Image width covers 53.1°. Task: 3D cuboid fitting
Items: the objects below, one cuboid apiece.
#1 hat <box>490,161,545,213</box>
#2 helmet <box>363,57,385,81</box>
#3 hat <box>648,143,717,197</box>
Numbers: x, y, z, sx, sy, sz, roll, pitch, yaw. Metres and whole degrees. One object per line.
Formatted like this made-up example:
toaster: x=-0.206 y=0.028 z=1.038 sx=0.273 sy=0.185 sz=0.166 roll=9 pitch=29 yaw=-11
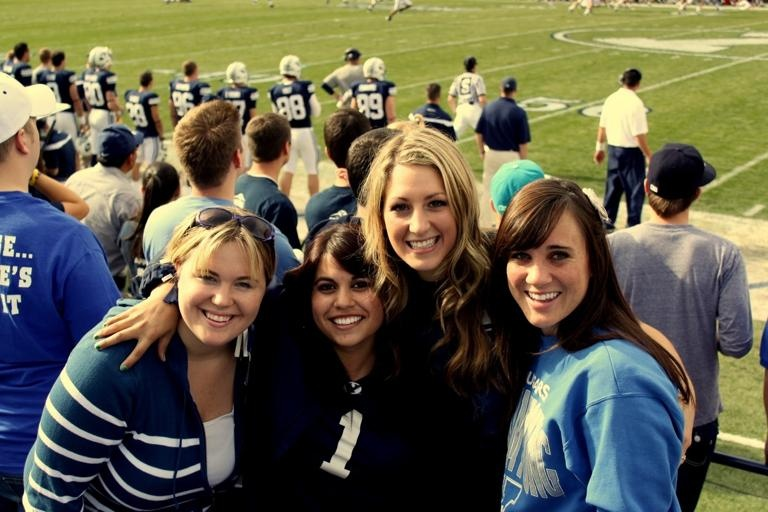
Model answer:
hat: x=0.915 y=-0.450 z=5.353 sx=0.392 sy=0.307 sz=0.533 roll=-2 pitch=30 yaw=20
helmet: x=-0.200 y=-2.873 z=11.939 sx=0.375 sy=0.419 sz=0.479 roll=7 pitch=13 yaw=24
hat: x=1.964 y=-0.601 z=4.937 sx=0.436 sy=0.219 sz=0.274 roll=-10 pitch=39 yaw=6
